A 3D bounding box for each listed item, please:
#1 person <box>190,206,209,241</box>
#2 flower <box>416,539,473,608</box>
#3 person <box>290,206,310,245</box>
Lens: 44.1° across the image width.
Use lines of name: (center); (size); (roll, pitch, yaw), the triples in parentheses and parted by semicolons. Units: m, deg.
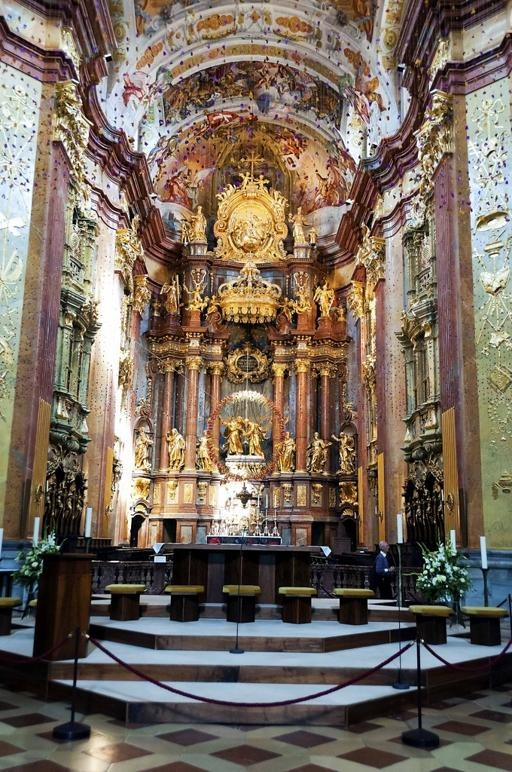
person: (-1.975, -5.415, 21.415); (0.479, 1.534, 0.600); (7, -16, -22)
flower: (2.210, 2.238, 7.567); (0.489, 0.661, 0.562); (7, -16, -22)
person: (1.472, -5.344, 21.638); (0.628, 1.726, 0.911); (0, -15, 4)
